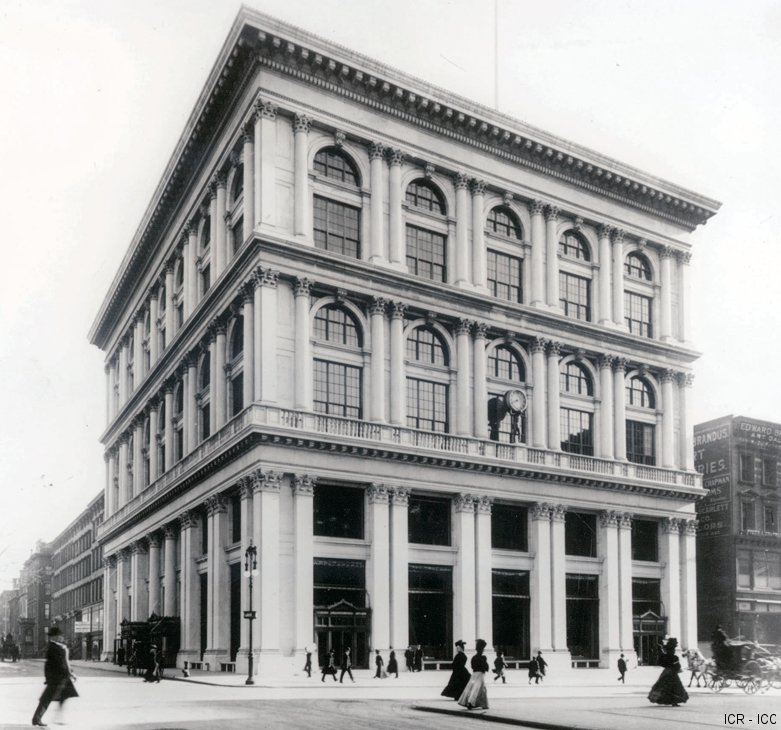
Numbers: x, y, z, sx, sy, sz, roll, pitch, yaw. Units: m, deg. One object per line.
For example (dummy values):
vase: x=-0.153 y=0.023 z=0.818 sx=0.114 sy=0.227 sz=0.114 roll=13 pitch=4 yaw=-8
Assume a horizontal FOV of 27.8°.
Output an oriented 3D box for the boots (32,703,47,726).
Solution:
boots: x=-11.689 y=11.512 z=52.111 sx=0.434 sy=0.638 sz=1.076 roll=4 pitch=-22 yaw=-13
